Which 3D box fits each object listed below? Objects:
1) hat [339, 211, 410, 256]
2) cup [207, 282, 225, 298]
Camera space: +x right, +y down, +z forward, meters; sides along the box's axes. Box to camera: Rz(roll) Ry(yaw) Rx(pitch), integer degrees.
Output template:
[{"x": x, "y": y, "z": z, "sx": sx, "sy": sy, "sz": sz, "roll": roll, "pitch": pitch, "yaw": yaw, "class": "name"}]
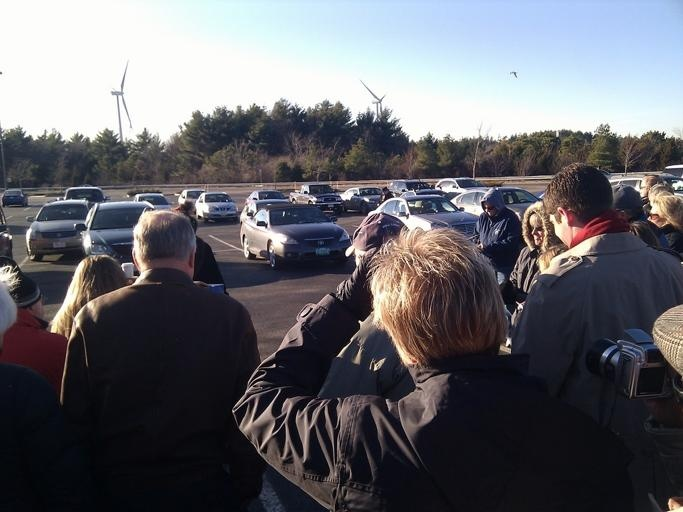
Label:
[{"x": 0.183, "y": -0.139, "z": 3.143, "sx": 0.201, "sy": 0.171, "sz": 0.285, "roll": -29, "pitch": 13, "yaw": -32, "class": "hat"}, {"x": -0.889, "y": 0.237, "z": 3.950, "sx": 0.109, "sy": 0.127, "sz": 0.082, "roll": 1, "pitch": -2, "yaw": -20, "class": "cup"}]
